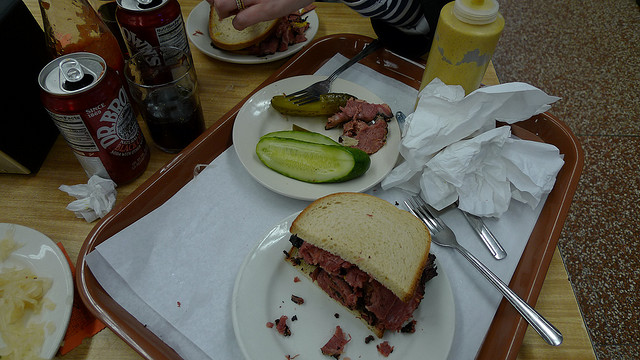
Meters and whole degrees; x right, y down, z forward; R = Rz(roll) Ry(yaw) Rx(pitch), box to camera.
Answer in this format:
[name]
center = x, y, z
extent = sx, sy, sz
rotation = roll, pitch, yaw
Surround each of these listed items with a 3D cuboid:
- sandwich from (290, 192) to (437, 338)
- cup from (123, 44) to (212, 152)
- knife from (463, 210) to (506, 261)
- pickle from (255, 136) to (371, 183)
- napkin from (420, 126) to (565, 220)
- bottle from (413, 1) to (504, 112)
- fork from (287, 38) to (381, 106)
[sandwich]
center = 0.198, 0.309, 2.153
extent = 0.652, 0.163, 0.512
rotation = 37, 67, 12
[cup]
center = -0.705, -0.398, 2.411
extent = 0.391, 0.496, 0.515
rotation = -12, 58, -3
[knife]
center = 0.746, 0.227, 2.277
extent = 0.086, 0.028, 0.361
rotation = -24, 58, -15
[pickle]
center = -0.044, -0.103, 2.278
extent = 0.534, 0.096, 0.197
rotation = 6, 78, 9
[napkin]
center = 0.817, 0.012, 2.301
extent = 0.534, 0.218, 0.460
rotation = -30, 66, -10
[bottle]
center = 0.668, -0.621, 2.282
extent = 0.290, 0.397, 0.326
rotation = 21, 64, 7
[fork]
center = 0.071, -0.573, 2.544
extent = 0.073, 0.064, 0.545
rotation = 43, 69, 11
